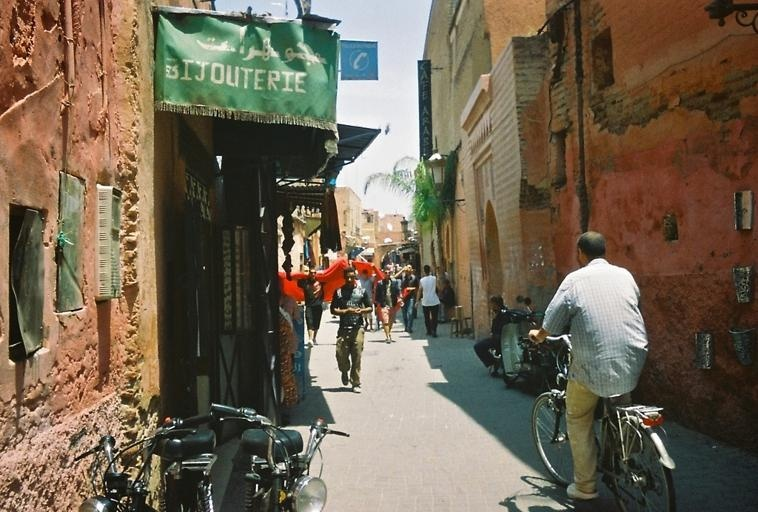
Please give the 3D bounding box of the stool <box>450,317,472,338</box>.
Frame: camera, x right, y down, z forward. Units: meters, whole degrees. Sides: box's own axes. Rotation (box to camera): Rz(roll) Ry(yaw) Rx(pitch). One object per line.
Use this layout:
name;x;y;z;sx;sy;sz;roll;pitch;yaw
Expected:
stool;2.168;1.864;18.571;0.563;0.609;0.593;-1;4;-14

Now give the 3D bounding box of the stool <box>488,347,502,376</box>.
stool;1.936;1.740;11.559;0.137;0.463;0.313;3;13;-11

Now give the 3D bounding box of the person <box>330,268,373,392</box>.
person;-0.411;1.097;11.098;0.608;1.933;0.895;-3;-3;-4

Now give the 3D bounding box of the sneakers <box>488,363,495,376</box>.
sneakers;1.877;1.894;11.928;0.044;0.191;0.127;1;-11;39

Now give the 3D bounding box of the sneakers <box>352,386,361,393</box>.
sneakers;-0.343;2.011;10.824;0.082;0.046;0.118;2;1;4
